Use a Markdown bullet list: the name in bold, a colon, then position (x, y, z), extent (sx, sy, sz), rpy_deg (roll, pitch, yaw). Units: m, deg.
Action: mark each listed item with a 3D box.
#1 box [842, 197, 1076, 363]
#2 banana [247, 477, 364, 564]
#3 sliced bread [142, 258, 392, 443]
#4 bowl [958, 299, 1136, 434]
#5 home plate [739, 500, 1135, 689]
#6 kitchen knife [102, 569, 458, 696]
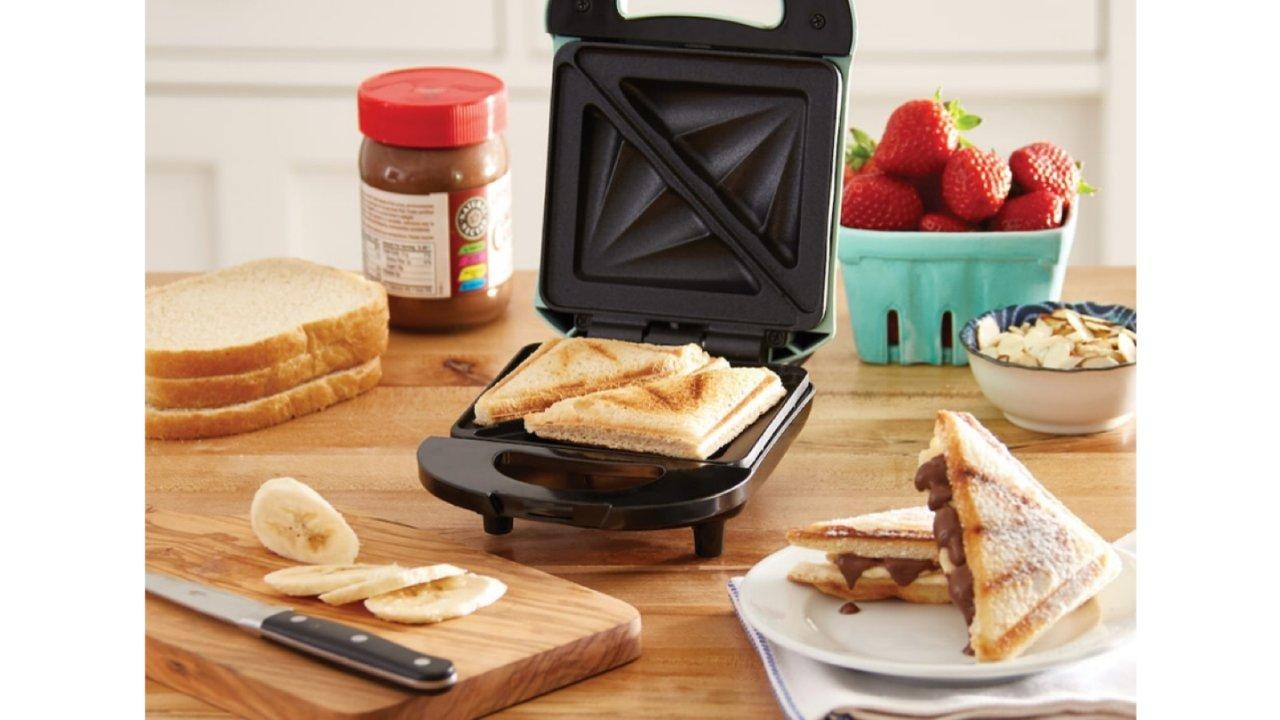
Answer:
- **box**: position (0.436, -0.084, 1.774), extent (0.425, 0.184, 0.296), rpy_deg (-2, -7, -9)
- **banana**: position (-0.408, 0.214, 1.301), extent (0.110, 0.034, 0.163), rpy_deg (3, 16, -27)
- **sliced bread**: position (-0.545, -0.025, 1.644), extent (0.357, 0.109, 0.251), rpy_deg (-16, 31, -35)
- **bowl**: position (0.604, 0.014, 1.593), extent (0.254, 0.104, 0.249), rpy_deg (-5, 24, 2)
- **home plate**: position (0.291, 0.228, 1.138), extent (0.227, 0.026, 0.219), rpy_deg (4, 14, 28)
- **kitchen knife**: position (-0.380, 0.298, 1.176), extent (0.459, 0.023, 0.064), rpy_deg (13, 11, 29)
